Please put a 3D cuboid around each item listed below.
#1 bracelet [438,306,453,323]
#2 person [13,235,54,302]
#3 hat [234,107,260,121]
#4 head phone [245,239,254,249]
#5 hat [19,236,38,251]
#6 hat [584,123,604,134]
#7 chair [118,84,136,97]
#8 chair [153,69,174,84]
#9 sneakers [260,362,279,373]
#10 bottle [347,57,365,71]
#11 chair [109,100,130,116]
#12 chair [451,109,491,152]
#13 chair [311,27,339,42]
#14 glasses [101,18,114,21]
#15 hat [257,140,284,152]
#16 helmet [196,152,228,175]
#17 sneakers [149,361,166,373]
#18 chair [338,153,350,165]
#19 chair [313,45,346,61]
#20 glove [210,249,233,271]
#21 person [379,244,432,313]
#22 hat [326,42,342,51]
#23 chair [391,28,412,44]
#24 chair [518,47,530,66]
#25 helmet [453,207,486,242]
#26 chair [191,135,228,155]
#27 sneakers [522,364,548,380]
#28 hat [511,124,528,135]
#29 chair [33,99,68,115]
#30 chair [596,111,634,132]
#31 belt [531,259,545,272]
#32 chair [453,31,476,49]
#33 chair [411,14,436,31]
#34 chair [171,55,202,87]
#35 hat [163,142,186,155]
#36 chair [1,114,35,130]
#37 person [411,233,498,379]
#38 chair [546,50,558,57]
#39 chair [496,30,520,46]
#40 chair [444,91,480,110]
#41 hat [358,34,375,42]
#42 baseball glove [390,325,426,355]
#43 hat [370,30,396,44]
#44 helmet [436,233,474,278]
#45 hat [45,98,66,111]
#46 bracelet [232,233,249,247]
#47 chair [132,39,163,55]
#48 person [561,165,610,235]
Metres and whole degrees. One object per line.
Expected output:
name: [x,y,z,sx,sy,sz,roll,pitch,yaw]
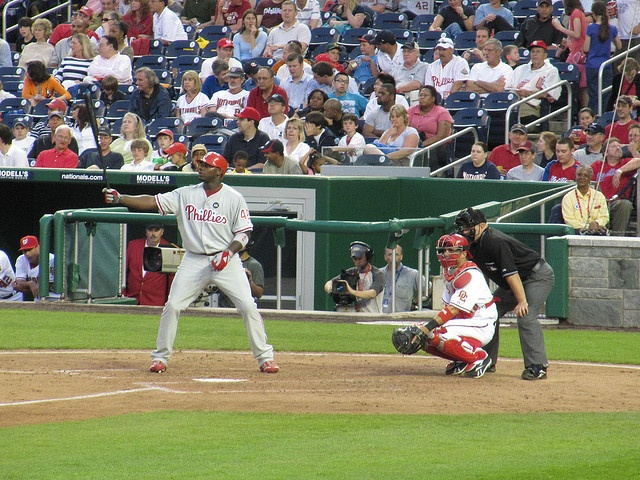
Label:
bracelet: [1.641,1.040,19.790,0.204,0.157,0.202,-37,16,-1]
person: [-4.853,0.677,25.491,0.797,1.313,0.751,-1,3,4]
hat: [-1.242,-2.138,25.534,0.336,0.156,0.227,6,11,-3]
head phone: [-1.168,0.114,24.403,0.125,0.136,0.155,-9,-9,23]
hat: [-4.911,0.104,25.331,0.246,0.191,0.342,-2,1,12]
hat: [4.634,-1.857,25.185,0.242,0.112,0.168,2,-3,-40]
chair: [-3.824,-2.937,29.474,0.305,0.359,0.306,0,-3,-4]
chair: [-3.169,-3.285,30.175,0.375,0.404,0.346,-1,3,-9]
sneakers: [-0.659,1.761,19.998,0.114,0.136,0.286,5,-12,-44]
bottle: [0.688,-3.496,29.516,0.351,0.212,0.091,-38,61,-27]
chair: [-3.864,-2.498,28.644,0.345,0.201,0.335,0,0,-3]
chair: [2.669,-1.949,27.017,0.736,0.884,0.739,0,1,30]
chair: [0.075,-4.289,31.335,0.380,0.458,0.395,2,9,11]
glasses: [-4.523,-4.708,31.924,0.175,0.049,0.171,2,-2,-39]
hat: [-0.838,-1.557,25.341,0.350,0.179,0.240,0,8,3]
helmet: [-1.403,-1.002,19.891,0.339,0.171,0.246,31,-10,-26]
sneakers: [-2.149,1.736,19.790,0.214,0.182,0.214,-1,10,-11]
chair: [0.415,-1.368,25.894,0.227,0.202,0.170,0,4,-9]
chair: [0.180,-3.681,29.368,0.613,0.303,0.368,-5,11,-6]
glove: [-1.305,0.316,19.717,0.271,0.275,0.161,0,10,-4]
person: [1.365,0.720,24.182,1.089,1.602,0.702,-1,-5,3]
hat: [0.204,-3.808,29.344,0.194,0.104,0.270,0,-5,-34]
chair: [1.697,-4.253,31.055,0.362,0.445,0.394,0,14,6]
chair: [3.905,-3.546,28.920,0.263,0.296,0.347,1,-5,2]
helmet: [2.035,-0.157,20.030,0.360,0.399,0.445,-3,-8,28]
chair: [-1.989,-1.705,26.763,0.431,0.535,0.442,0,-4,4]
sneakers: [2.823,1.825,19.899,0.395,0.159,0.142,4,-2,-19]
hat: [3.392,-1.874,25.613,0.264,0.148,0.312,0,10,-7]
chair: [-5.215,-2.601,28.918,0.534,0.185,0.400,-6,5,-40]
chair: [5.171,-2.135,26.389,0.463,0.564,0.419,-1,-4,4]
belt: [2.901,0.381,20.030,0.155,0.043,0.158,-43,3,-7]
chair: [2.934,-4.061,30.396,0.393,0.513,0.384,1,9,12]
chair: [2.146,-4.681,32.116,0.399,0.491,0.455,2,6,21]
chair: [-2.839,-3.488,30.672,0.691,0.859,0.651,2,0,6]
hat: [-2.516,-1.574,26.181,0.291,0.156,0.199,2,-1,-5]
chair: [-5.743,-2.220,28.437,0.463,0.220,0.620,-1,4,-3]
person: [1.830,0.953,19.877,1.049,1.913,0.549,1,10,1]
chair: [4.467,-3.611,28.989,0.272,0.229,0.140,3,9,9]
chair: [3.736,-4.076,30.061,0.461,0.298,0.318,-2,-5,20]
chair: [2.593,-2.547,27.498,0.434,0.543,0.429,1,5,17]
hat: [0.934,-3.996,29.552,0.326,0.151,0.212,3,0,-25]
baseball glove: [1.121,1.379,19.842,0.243,0.328,0.431,-28,5,-27]
hat: [1.229,-3.923,28.986,0.376,0.205,0.255,9,34,13]
helmet: [1.742,0.218,19.897,0.416,0.573,0.600,-5,-11,42]
hat: [-5.010,-2.546,28.412,0.312,0.163,0.214,19,4,-28]
bracelet: [-1.044,0.026,19.898,0.157,0.178,0.201,8,36,23]
chair: [-3.653,-4.047,31.511,0.523,0.212,0.360,0,2,-20]
person: [4.272,-0.570,24.352,0.847,1.206,0.717,1,10,-4]
